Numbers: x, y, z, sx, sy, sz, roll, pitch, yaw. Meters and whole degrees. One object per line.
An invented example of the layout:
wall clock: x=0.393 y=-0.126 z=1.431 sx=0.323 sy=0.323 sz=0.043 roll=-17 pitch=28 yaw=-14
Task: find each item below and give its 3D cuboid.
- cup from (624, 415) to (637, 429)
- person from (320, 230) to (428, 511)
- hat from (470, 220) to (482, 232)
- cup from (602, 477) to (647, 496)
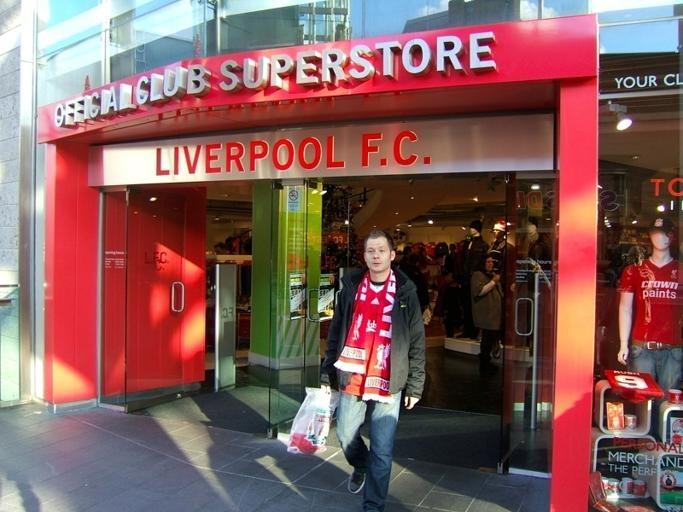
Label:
cup: x=2.336 y=1.335 z=4.587 sx=0.097 sy=0.110 sz=0.098 roll=1 pitch=4 yaw=0
person: x=0.221 y=0.893 z=4.465 sx=0.758 sy=2.153 sz=0.512 roll=3 pitch=5 yaw=39
hat: x=2.215 y=-0.493 z=9.345 sx=0.160 sy=0.174 sz=0.435 roll=1 pitch=4 yaw=10
cup: x=2.278 y=1.843 z=4.561 sx=0.279 sy=0.111 sz=0.170 roll=-2 pitch=-6 yaw=8
